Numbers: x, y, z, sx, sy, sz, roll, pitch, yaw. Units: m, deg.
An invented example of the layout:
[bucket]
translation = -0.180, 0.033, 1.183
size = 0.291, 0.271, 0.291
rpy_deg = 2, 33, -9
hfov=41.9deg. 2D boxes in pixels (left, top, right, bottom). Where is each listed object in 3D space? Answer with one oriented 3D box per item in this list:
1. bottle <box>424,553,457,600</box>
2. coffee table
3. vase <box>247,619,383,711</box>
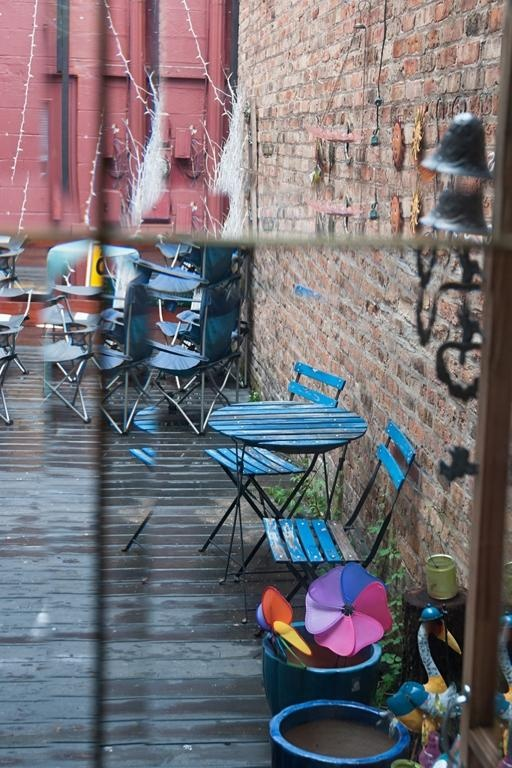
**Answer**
[bottle]
translation = 0.485, 0.506, 1.796
size = 0.096, 0.118, 0.100
rpy_deg = 2, 15, 23
[coffee table]
translation = 0.148, 0.462, 2.949
size = 0.679, 0.836, 0.749
rpy_deg = -3, 18, -21
[vase]
translation = 0.170, 0.813, 1.877
size = 0.270, 0.226, 0.268
rpy_deg = 0, 2, 29
